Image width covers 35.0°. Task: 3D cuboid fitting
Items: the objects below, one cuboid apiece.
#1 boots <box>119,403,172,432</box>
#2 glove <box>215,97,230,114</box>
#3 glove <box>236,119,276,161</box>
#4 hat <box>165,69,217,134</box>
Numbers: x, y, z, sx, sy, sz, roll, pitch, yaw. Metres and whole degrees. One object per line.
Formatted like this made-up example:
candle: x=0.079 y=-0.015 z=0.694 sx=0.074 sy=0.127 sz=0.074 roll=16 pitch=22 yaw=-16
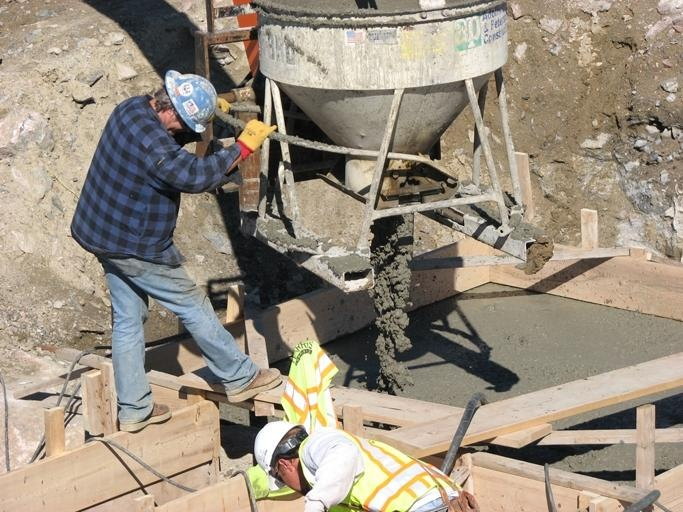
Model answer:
boots: x=-1.570 y=1.337 z=8.921 sx=0.484 sy=0.178 sz=0.177 roll=-15 pitch=23 yaw=-43
glove: x=-0.999 y=-1.269 z=9.130 sx=0.126 sy=0.138 sz=0.050 roll=3 pitch=37 yaw=-12
glove: x=-0.708 y=-0.938 z=8.712 sx=0.280 sy=0.095 sz=0.327 roll=26 pitch=63 yaw=13
hat: x=-1.154 y=-1.245 z=8.489 sx=0.249 sy=0.475 sz=0.400 roll=-21 pitch=14 yaw=34
